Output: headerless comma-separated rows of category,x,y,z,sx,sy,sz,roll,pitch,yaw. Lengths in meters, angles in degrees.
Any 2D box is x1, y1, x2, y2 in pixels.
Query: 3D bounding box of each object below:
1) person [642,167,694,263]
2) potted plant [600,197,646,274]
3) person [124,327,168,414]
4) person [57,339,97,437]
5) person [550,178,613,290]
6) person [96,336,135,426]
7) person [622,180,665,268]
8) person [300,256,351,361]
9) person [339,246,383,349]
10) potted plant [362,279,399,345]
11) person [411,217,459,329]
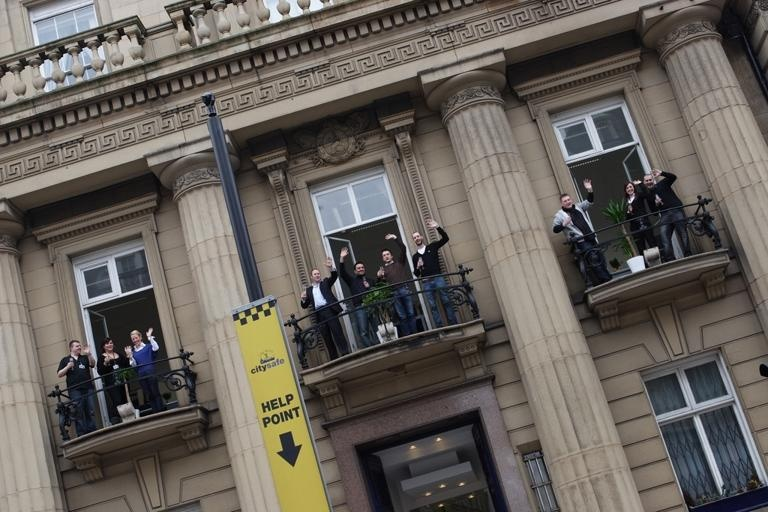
person,6.578,-0.964,47.569,0.877,2.056,0.650,-21,-19,14
potted plant,5.646,-0.457,48.024,0.868,1.735,1.060,-13,-13,-11
person,-5.498,2.706,47.821,0.793,2.054,0.625,-17,-16,4
person,-7.046,3.101,47.740,0.889,2.289,0.754,-5,-13,-29
person,4.568,-0.435,47.688,1.020,2.410,0.777,-17,-19,4
person,-6.267,2.953,48.056,0.757,2.005,0.757,-9,-3,-33
person,5.971,-0.741,47.742,0.736,2.315,0.933,5,-25,-45
person,-1.377,1.325,47.637,0.962,2.232,0.978,-15,-19,-4
person,-0.618,1.002,47.773,0.825,2.467,0.664,-3,1,-2
potted plant,-0.091,1.212,47.381,0.743,1.560,0.833,-16,-19,-1
person,1.176,0.363,47.725,0.937,2.635,1.168,-13,-19,-8
